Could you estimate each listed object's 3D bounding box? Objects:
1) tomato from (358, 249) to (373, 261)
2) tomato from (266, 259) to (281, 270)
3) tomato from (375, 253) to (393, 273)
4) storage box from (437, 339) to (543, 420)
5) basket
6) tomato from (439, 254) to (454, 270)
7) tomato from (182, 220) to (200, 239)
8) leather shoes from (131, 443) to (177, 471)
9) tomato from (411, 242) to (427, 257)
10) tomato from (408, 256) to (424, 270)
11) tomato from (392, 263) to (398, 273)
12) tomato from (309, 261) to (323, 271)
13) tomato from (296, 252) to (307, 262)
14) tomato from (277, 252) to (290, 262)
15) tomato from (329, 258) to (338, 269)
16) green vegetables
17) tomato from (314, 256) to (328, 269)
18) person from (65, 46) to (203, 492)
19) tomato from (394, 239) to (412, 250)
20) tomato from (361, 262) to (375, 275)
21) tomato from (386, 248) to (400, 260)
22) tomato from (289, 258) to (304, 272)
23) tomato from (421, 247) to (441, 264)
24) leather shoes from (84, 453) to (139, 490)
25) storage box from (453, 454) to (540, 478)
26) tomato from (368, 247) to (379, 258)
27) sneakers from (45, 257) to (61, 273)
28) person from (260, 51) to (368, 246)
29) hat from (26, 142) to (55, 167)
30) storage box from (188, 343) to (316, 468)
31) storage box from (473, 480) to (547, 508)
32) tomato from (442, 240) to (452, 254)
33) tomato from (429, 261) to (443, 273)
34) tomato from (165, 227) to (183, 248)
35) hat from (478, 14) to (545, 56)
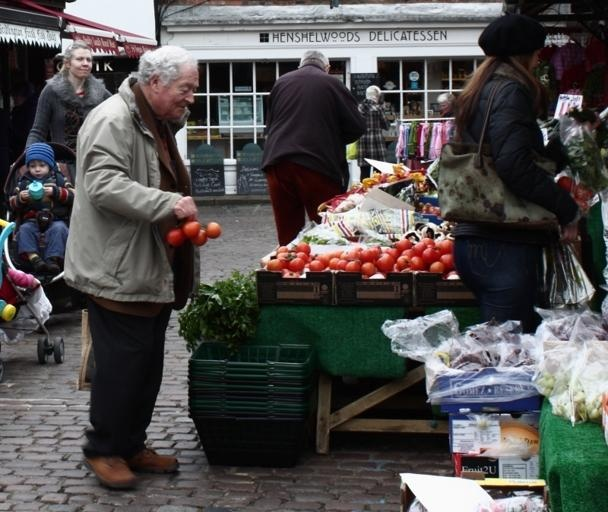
[{"bbox_3d":[0.414,-0.006,4.620,0.084,0.069,0.111,3,9,28],"label":"tomato"},{"bbox_3d":[-0.173,0.056,4.518,0.068,0.070,0.068,-1,-7,-4],"label":"tomato"},{"bbox_3d":[0.533,0.051,4.584,0.102,0.125,0.110,-5,19,46],"label":"tomato"},{"bbox_3d":[0.934,0.622,3.479,0.397,0.137,0.406,-3,5,9],"label":"storage box"},{"bbox_3d":[-0.277,0.906,4.329,0.801,0.554,0.577,0,4,4],"label":"basket"},{"bbox_3d":[0.915,0.033,4.513,0.083,0.080,0.094,2,-30,-3],"label":"tomato"},{"bbox_3d":[-0.584,-0.152,3.722,0.087,0.087,0.085,-3,18,-6],"label":"tomato"},{"bbox_3d":[-0.857,1.195,4.168,0.297,0.138,0.119,0,4,-1],"label":"leather shoes"},{"bbox_3d":[0.778,-0.048,4.770,0.089,0.101,0.082,30,46,31],"label":"tomato"},{"bbox_3d":[0.730,0.042,4.579,0.077,0.095,0.079,-2,-6,-31],"label":"tomato"},{"bbox_3d":[0.599,0.075,4.580,0.024,0.044,0.033,-5,-4,-25],"label":"tomato"},{"bbox_3d":[0.085,0.061,4.516,0.063,0.065,0.064,-1,3,18],"label":"tomato"},{"bbox_3d":[-0.002,0.006,4.685,0.060,0.061,0.061,0,16,-23],"label":"tomato"},{"bbox_3d":[-0.121,0.005,4.680,0.056,0.058,0.068,-7,-4,-7],"label":"tomato"},{"bbox_3d":[0.202,0.044,4.603,0.056,0.056,0.057,-1,9,3],"label":"tomato"},{"bbox_3d":[-0.512,0.309,4.460,0.475,0.335,0.461,-13,-13,-18],"label":"green vegetables"},{"bbox_3d":[0.122,0.036,4.643,0.080,0.082,0.080,-1,16,-6],"label":"tomato"},{"bbox_3d":[-0.877,0.084,3.824,0.727,2.416,0.656,-5,8,-27],"label":"person"},{"bbox_3d":[0.689,-0.085,4.901,0.088,0.067,0.066,-8,7,-16],"label":"tomato"},{"bbox_3d":[0.407,0.082,4.415,0.074,0.074,0.072,33,-2,-16],"label":"tomato"},{"bbox_3d":[0.617,-0.020,4.807,0.083,0.084,0.076,0,2,-32],"label":"tomato"},{"bbox_3d":[-0.043,0.048,4.536,0.082,0.084,0.082,-20,17,-4],"label":"tomato"},{"bbox_3d":[0.825,-0.007,4.598,0.097,0.118,0.096,15,-30,5],"label":"tomato"},{"bbox_3d":[-1.041,1.194,3.874,0.281,0.129,0.139,18,10,23],"label":"leather shoes"},{"bbox_3d":[0.946,1.030,3.433,0.200,0.063,0.215,0,-1,4],"label":"storage box"},{"bbox_3d":[0.471,-0.027,4.664,0.058,0.051,0.069,5,45,3],"label":"tomato"},{"bbox_3d":[-2.484,0.086,7.117,0.075,0.168,0.228,13,-32,-14],"label":"sneakers"},{"bbox_3d":[0.079,-0.900,6.377,0.867,1.625,0.496,-1,7,2],"label":"person"},{"bbox_3d":[-2.663,-1.040,7.228,0.305,0.247,0.278,-5,8,-27],"label":"hat"},{"bbox_3d":[-0.245,0.906,4.331,0.797,0.555,0.581,0,4,5],"label":"storage box"},{"bbox_3d":[0.789,0.894,2.686,0.259,0.075,0.174,2,8,20],"label":"storage box"},{"bbox_3d":[0.947,-0.060,4.682,0.076,0.094,0.077,0,4,0],"label":"tomato"},{"bbox_3d":[0.824,0.069,4.383,0.065,0.068,0.079,13,11,13],"label":"tomato"},{"bbox_3d":[-0.664,-0.102,3.778,0.085,0.108,0.087,6,-4,42],"label":"tomato"},{"bbox_3d":[1.081,-1.142,3.642,0.214,0.135,0.302,1,35,16],"label":"hat"}]
